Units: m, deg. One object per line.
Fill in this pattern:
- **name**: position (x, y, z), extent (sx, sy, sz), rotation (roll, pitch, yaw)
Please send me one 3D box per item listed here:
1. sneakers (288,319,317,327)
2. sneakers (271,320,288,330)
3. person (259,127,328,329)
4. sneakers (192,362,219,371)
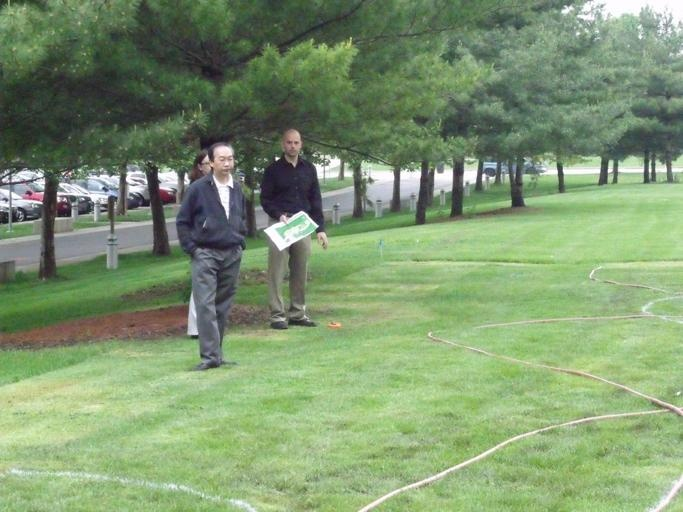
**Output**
- **sneakers**: position (-0.470, 0.827, 11.223), extent (0.370, 0.139, 0.124), rotation (0, -2, 11)
- **sneakers**: position (-0.745, 0.844, 11.073), extent (0.158, 0.055, 0.096), rotation (-3, 2, 22)
- **person**: position (-0.584, -0.330, 11.084), extent (0.772, 2.410, 0.770), rotation (-5, 7, -2)
- **sneakers**: position (-1.340, 1.113, 9.170), extent (0.268, 0.107, 0.089), rotation (4, -1, -28)
